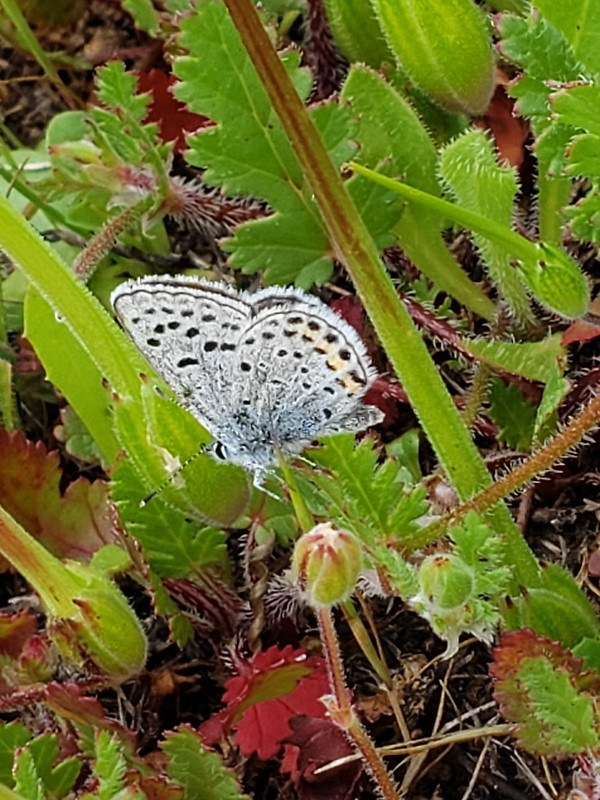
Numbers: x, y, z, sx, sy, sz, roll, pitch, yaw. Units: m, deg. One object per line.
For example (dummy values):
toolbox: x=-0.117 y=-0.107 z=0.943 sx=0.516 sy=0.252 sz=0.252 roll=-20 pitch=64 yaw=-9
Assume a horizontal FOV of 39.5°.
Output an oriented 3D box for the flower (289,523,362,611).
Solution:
flower: x=0.041 y=0.210 z=1.066 sx=0.079 sy=0.089 sz=0.089 roll=-19 pitch=6 yaw=-16

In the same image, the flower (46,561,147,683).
flower: x=-0.294 y=0.345 z=1.310 sx=0.130 sy=0.193 sz=0.069 roll=-43 pitch=5 yaw=9

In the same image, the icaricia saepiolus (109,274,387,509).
icaricia saepiolus: x=-0.049 y=-0.058 z=1.474 sx=0.392 sy=0.305 sz=0.435 roll=-27 pitch=14 yaw=18
